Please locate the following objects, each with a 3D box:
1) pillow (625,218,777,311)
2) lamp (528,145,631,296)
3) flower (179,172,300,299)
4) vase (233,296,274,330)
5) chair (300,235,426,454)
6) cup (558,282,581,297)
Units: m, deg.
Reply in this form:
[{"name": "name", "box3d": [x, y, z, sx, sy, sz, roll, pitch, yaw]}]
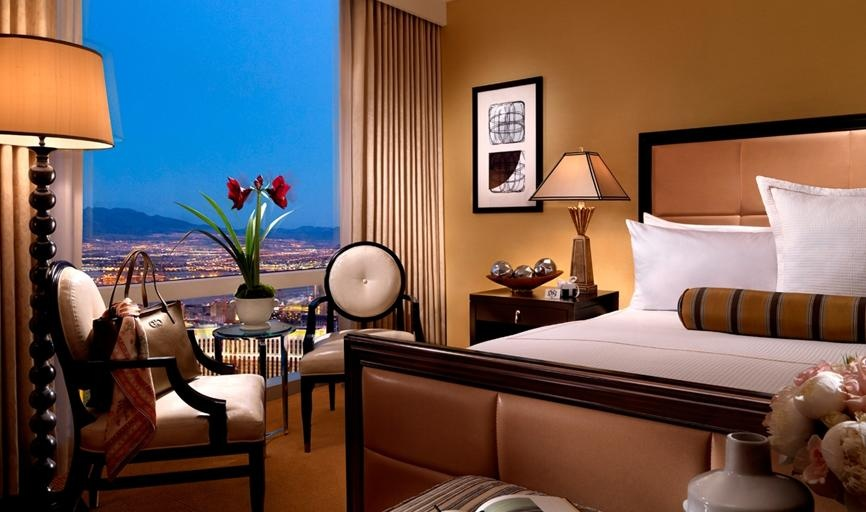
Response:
[{"name": "pillow", "box3d": [1.630, 0.064, 3.667, 0.605, 0.389, 0.180, 0, -8, 40]}, {"name": "lamp", "box3d": [1.099, -0.228, 4.585, 0.761, 1.010, 0.738, 0, 3, 15]}, {"name": "flower", "box3d": [-1.350, -0.079, 4.171, 0.754, 0.869, 0.770, 0, 0, -31]}, {"name": "vase", "box3d": [-1.207, 0.393, 4.102, 0.295, 0.209, 0.268, -1, 0, -14]}, {"name": "chair", "box3d": [-0.431, 0.583, 4.268, 0.910, 1.243, 0.951, 0, 3, 6]}, {"name": "cup", "box3d": [0.953, 0.255, 4.314, 0.086, 0.091, 0.130, -1, -2, 25]}]
